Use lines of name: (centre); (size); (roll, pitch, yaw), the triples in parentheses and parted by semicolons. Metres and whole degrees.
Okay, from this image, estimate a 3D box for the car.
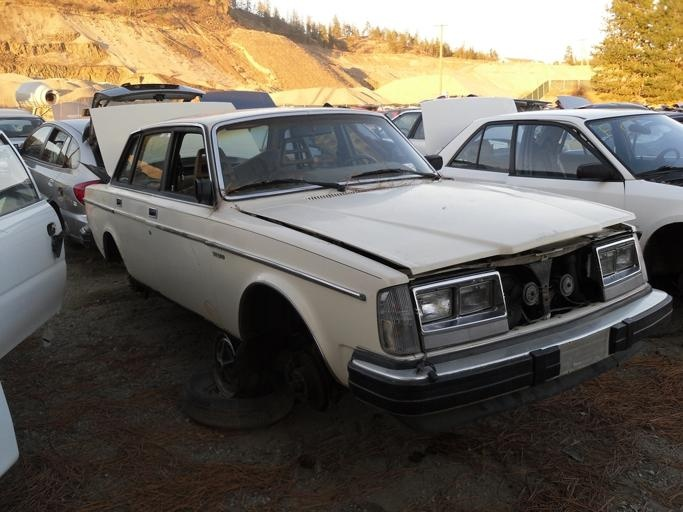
car: (-0.598, -0.170, 3.890); (5.192, 1.703, 2.364); (15, 26, 42)
